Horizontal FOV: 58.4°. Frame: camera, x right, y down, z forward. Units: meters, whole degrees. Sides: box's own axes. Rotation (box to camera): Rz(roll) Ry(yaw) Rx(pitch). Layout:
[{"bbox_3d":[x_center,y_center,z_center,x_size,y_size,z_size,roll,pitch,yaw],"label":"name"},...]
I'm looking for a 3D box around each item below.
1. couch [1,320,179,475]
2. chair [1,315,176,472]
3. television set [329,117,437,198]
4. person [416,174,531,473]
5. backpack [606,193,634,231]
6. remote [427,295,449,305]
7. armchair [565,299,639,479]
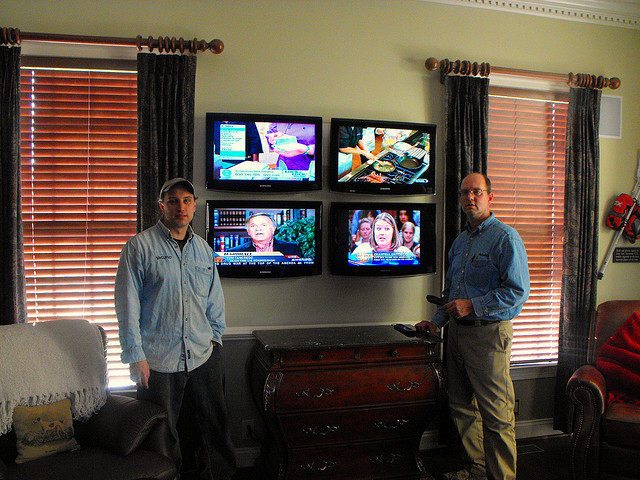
[{"bbox_3d":[-1.607,1.055,3.815,1.197,1.127,0.933,0,-2,-33],"label":"couch"},{"bbox_3d":[-1.450,0.933,3.960,1.016,1.237,0.969,1,-2,-40],"label":"chair"},{"bbox_3d":[0.475,-0.646,4.534,0.643,0.444,0.063,1,5,-8],"label":"television set"},{"bbox_3d":[1.142,0.658,4.196,0.680,2.243,0.465,4,11,36],"label":"person"},{"bbox_3d":[2.596,-0.246,4.967,0.194,0.319,0.127,22,-5,40],"label":"backpack"},{"bbox_3d":[0.865,0.446,4.165,0.198,0.052,0.052,15,-20,-33],"label":"remote"},{"bbox_3d":[2.103,1.198,4.263,0.489,0.971,0.648,2,10,23],"label":"armchair"}]
